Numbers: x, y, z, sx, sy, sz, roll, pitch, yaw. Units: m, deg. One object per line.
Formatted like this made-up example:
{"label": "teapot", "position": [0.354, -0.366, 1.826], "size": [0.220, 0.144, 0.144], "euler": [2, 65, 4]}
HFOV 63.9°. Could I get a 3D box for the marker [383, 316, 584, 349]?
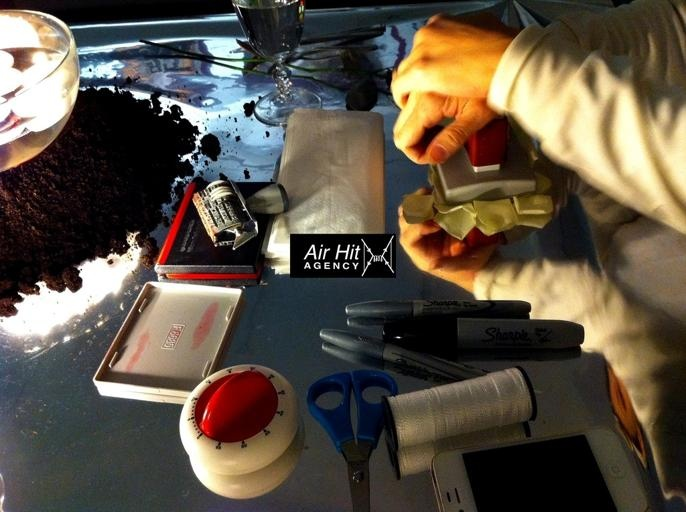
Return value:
{"label": "marker", "position": [0.179, 0.092, 0.658], "size": [0.181, 0.032, 0.032], "euler": [2, 87, 2]}
